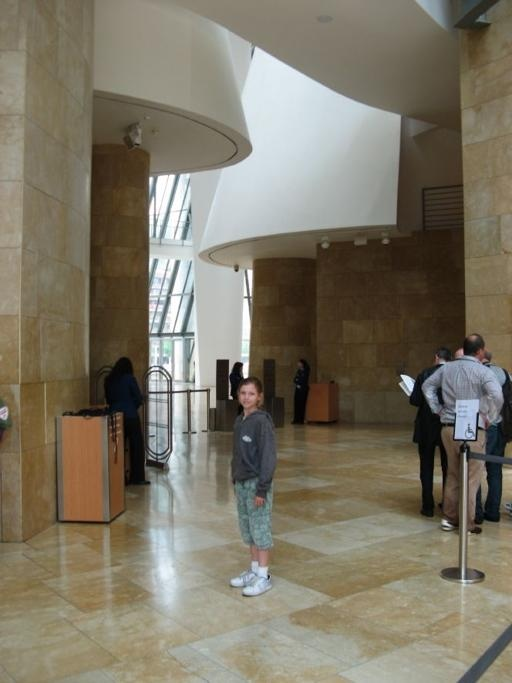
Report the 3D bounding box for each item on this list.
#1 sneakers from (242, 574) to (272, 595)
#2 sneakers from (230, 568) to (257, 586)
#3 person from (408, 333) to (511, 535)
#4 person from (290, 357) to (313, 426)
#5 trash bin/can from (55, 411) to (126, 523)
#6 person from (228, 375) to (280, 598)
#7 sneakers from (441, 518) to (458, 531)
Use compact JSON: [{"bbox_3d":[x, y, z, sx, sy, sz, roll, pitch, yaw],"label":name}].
[{"bbox_3d":[0.009,1.658,3.937,0.078,0.086,0.209,-7,-17,27],"label":"sneakers"},{"bbox_3d":[-0.076,1.655,4.089,0.085,0.095,0.215,-1,-9,43],"label":"sneakers"},{"bbox_3d":[1.925,0.900,5.337,0.607,1.648,0.959,-1,0,-2],"label":"person"},{"bbox_3d":[1.240,1.403,16.126,0.465,1.726,0.555,-1,0,4],"label":"person"},{"bbox_3d":[-1.804,1.224,6.197,0.787,1.229,0.749,-3,1,-21],"label":"trash bin/can"},{"bbox_3d":[-0.031,0.995,3.989,0.314,1.438,0.514,-1,0,-3],"label":"person"},{"bbox_3d":[1.885,1.795,5.687,0.075,0.081,0.182,0,-2,37],"label":"sneakers"}]
